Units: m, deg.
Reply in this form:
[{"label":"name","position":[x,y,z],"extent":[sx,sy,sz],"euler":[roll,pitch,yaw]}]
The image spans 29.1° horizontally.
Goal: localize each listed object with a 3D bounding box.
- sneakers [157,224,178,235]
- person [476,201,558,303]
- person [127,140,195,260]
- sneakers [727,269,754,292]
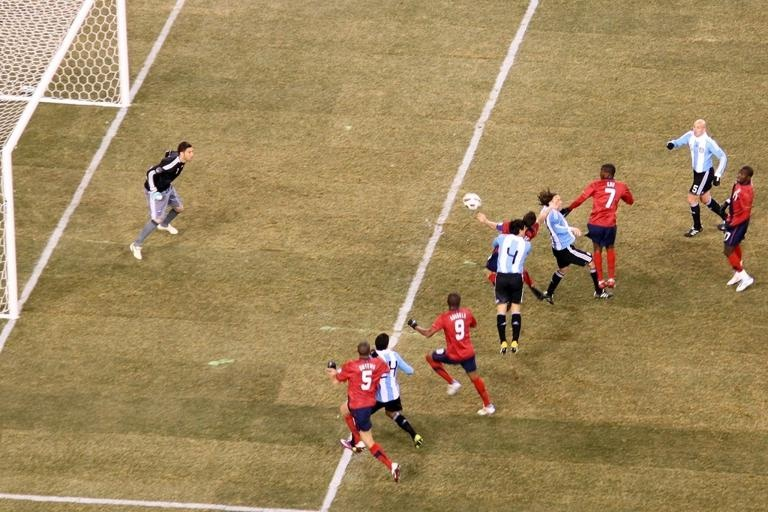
[{"label":"sneakers","position":[-4.277,-0.581,29.592],"extent":[0.404,0.129,0.184],"euler":[10,25,-1]},{"label":"person","position":[2.510,-0.126,27.881],"extent":[1.623,0.673,1.651],"euler":[8,81,-1]},{"label":"person","position":[-4.400,-1.047,29.480],"extent":[0.909,2.347,1.489],"euler":[37,50,2]},{"label":"sneakers","position":[6.942,0.445,28.488],"extent":[0.331,0.672,0.210],"euler":[18,62,-11]}]
